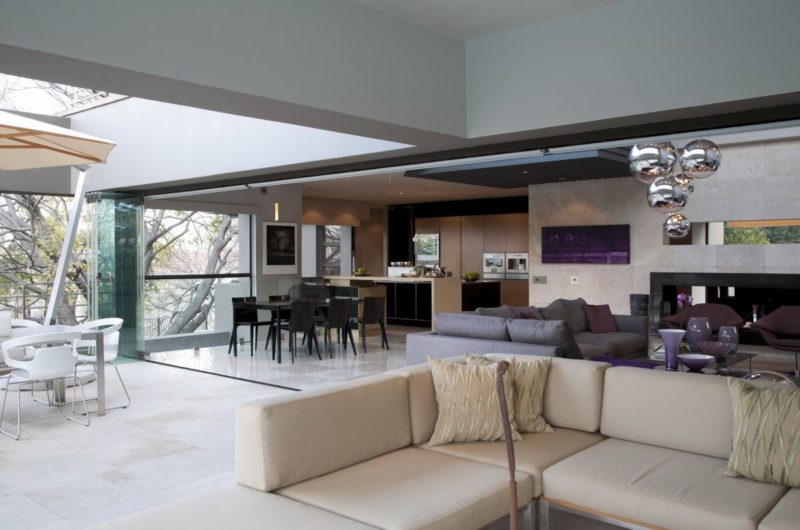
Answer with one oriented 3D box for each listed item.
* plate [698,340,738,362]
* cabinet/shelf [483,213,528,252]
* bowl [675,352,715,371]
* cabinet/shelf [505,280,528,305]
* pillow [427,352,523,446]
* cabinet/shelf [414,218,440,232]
[{"bbox_3d":[3.072,0.818,5.341,0.341,0.135,0.333,1,-7,-10],"label":"plate"},{"bbox_3d":[2.754,-0.887,14.624,1.231,0.996,0.428,-2,6,-3],"label":"cabinet/shelf"},{"bbox_3d":[2.678,0.845,4.962,0.231,0.084,0.226,0,-3,0],"label":"bowl"},{"bbox_3d":[2.986,0.687,14.076,0.597,0.552,0.334,-6,-11,41],"label":"cabinet/shelf"},{"bbox_3d":[0.544,1.018,4.082,0.883,0.782,0.319,1,-12,-7],"label":"pillow"},{"bbox_3d":[0.783,-1.166,15.717,0.784,0.405,0.120,3,6,39],"label":"cabinet/shelf"}]
